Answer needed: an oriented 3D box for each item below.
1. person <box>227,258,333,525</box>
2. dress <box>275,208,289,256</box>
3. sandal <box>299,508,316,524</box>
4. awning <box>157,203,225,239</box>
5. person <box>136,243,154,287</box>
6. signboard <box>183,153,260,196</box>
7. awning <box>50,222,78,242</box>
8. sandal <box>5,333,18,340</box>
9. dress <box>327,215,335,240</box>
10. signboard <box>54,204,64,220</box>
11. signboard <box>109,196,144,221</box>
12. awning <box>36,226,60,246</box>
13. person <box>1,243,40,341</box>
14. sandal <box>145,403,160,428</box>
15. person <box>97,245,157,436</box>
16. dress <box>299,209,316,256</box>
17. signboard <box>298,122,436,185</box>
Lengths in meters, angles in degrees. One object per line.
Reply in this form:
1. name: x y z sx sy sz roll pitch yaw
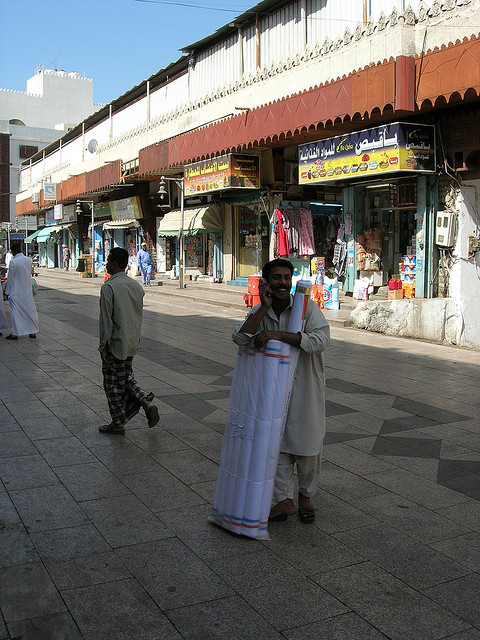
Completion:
1. person: 0.243 0.405 2.852 0.476 1.455 0.619 1 3 8
2. dress: 1.378 -2.857 16.887 0.433 1.524 0.412 0 3 -9
3. sandal: 0.373 1.076 2.853 0.097 0.068 0.062 0 4 -19
4. awning: -2.008 -4.274 22.474 0.813 0.993 2.079 -16 11 -35
5. person: -4.233 -2.507 23.417 0.693 2.059 0.660 1 31 -1
6. signboard: -0.968 -5.262 19.200 1.193 1.340 4.349 -2 5 -37
7. awning: -14.581 -7.326 43.169 1.104 1.444 6.994 -1 5 -29
8. sandal: -4.302 0.333 9.866 0.231 0.126 0.094 9 7 21
9. dress: 3.178 -3.215 18.195 0.257 0.766 0.096 -1 3 -28
10. signboard: -14.621 -8.832 42.289 0.334 1.326 1.081 -1 2 -34
11. signboard: -6.441 -6.382 29.971 0.346 1.311 4.059 -1 5 -33
12. awning: -17.624 -7.627 47.581 1.904 1.335 2.060 0 -7 -28
13. person: -4.141 -0.542 9.873 0.612 1.836 0.807 -1 3 -26
14. sandal: -0.751 0.813 4.492 0.085 0.218 0.075 -20 23 -37
15. person: -0.966 0.190 4.502 0.473 1.610 0.346 0 3 -18
16. dress: 2.200 -2.905 17.239 0.558 1.541 0.396 0 3 -9
17. signboard: 2.872 -4.056 12.976 1.013 1.299 4.122 -1 5 -32
